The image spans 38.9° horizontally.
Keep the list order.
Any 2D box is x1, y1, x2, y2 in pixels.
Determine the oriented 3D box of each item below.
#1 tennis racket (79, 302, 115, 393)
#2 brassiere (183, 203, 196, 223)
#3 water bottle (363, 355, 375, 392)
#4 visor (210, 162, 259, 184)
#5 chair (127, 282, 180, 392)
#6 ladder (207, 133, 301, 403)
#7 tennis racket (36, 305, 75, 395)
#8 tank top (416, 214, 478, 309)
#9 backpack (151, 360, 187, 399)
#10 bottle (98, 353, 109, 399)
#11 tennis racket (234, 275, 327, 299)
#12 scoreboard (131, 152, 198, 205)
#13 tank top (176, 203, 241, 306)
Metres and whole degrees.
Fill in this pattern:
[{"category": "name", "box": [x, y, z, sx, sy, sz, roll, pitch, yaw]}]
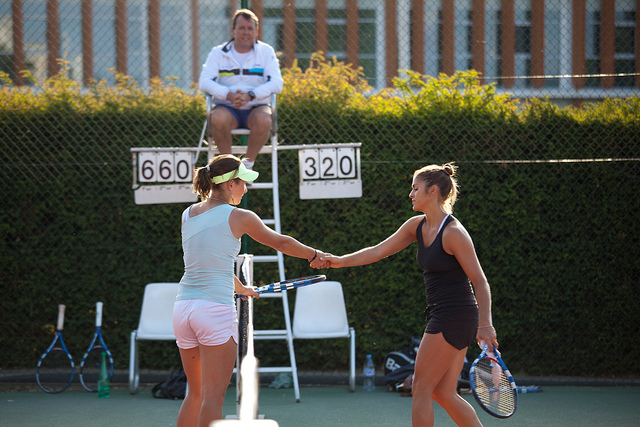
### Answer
[{"category": "tennis racket", "box": [-2.916, 1.795, 11.912, 0.406, 0.110, 1.423, -1, 45, -8]}, {"category": "brassiere", "box": [-1.382, 0.006, 9.565, 0.080, 0.146, 0.118, 0, -4, -1]}, {"category": "water bottle", "box": [0.644, 2.090, 11.981, 0.152, 0.489, 0.243, -1, 3, 3]}, {"category": "visor", "box": [-0.893, -0.402, 9.614, 0.340, 0.157, 0.234, -9, 5, -8]}, {"category": "chair", "box": [-2.132, 1.641, 12.163, 0.572, 1.265, 0.685, -14, -20, 40]}, {"category": "ladder", "box": [-0.659, 0.621, 11.390, 1.092, 3.569, 0.977, 15, 24, 33]}, {"category": "tennis racket", "box": [-3.475, 1.813, 11.993, 0.414, 1.443, 0.570, 0, 0, 7]}, {"category": "tank top", "box": [1.355, 0.520, 9.738, 0.640, 0.996, 0.265, -1, 3, 8]}, {"category": "backpack", "box": [-1.954, 2.176, 11.640, 0.463, 0.414, 0.210, 0, -30, 34]}, {"category": "bottle", "box": [-2.796, 2.076, 11.715, 0.140, 0.587, 0.260, -2, 3, -15]}, {"category": "tennis racket", "box": [-0.334, 0.761, 9.638, 0.726, 0.192, 0.421, -2, 3, -11]}, {"category": "scoreboard", "box": [-2.054, -0.482, 11.996, 0.817, 0.668, 0.263, -2, 3, -16]}, {"category": "tank top", "box": [-1.190, 0.481, 9.595, 0.604, 1.149, 0.531, -6, -17, 21]}]
